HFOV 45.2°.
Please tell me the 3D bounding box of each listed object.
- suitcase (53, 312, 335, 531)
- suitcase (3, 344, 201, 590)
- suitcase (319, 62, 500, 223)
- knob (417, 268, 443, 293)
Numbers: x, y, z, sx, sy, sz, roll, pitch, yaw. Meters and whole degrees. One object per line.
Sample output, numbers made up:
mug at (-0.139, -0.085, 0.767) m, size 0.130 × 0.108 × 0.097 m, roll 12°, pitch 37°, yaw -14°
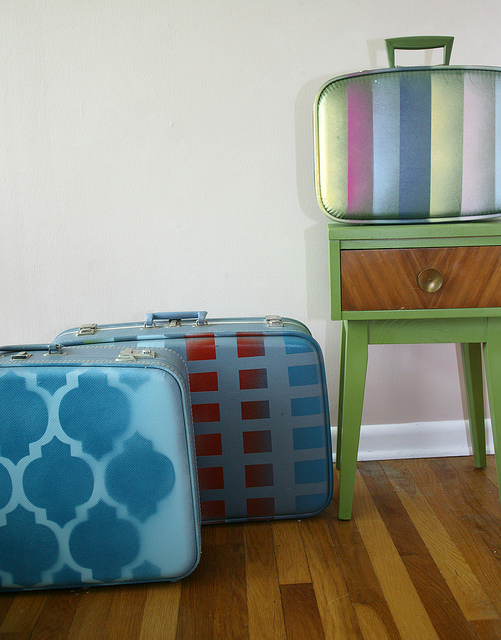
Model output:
suitcase at (-0.109, 0.178, 1.176) m, size 0.504 × 0.406 × 0.177 m, roll -3°, pitch 10°, yaw -6°
suitcase at (-0.235, 0.236, 0.925) m, size 0.399 × 0.368 × 0.124 m, roll -1°, pitch 3°, yaw -3°
suitcase at (0.273, -0.297, 1.006) m, size 0.280 × 0.207 × 0.091 m, roll -1°, pitch 6°, yaw 4°
knob at (0.296, -0.067, 0.992) m, size 0.033 × 0.035 × 0.014 m, roll -18°, pitch -2°, yaw 9°
